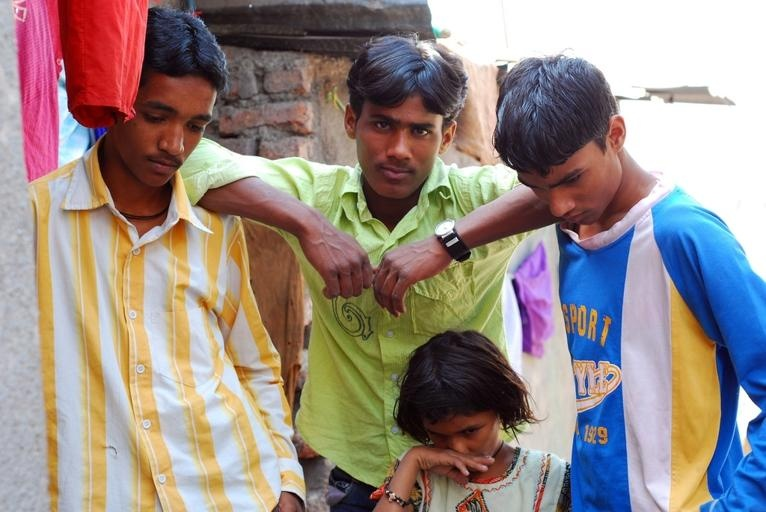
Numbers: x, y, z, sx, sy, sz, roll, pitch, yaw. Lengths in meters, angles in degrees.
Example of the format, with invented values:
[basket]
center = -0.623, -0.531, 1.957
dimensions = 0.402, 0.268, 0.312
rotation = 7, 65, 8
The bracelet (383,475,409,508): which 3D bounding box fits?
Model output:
[bracelet]
center = 0.053, 0.888, 3.114
dimensions = 0.103, 0.044, 0.085
rotation = 30, 23, -14
